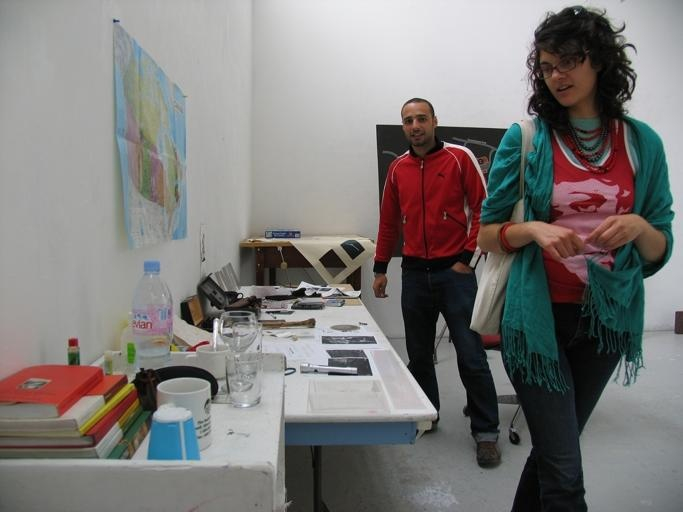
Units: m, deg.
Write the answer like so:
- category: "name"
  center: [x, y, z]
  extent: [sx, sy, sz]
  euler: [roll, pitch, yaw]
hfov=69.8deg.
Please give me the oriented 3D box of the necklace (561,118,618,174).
- category: "necklace"
  center: [0.736, -0.291, 1.413]
  extent: [0.110, 0.184, 0.032]
  euler: [1, -15, 13]

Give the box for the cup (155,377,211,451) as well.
- category: "cup"
  center: [-0.316, 0.320, 1.046]
  extent: [0.125, 0.148, 0.133]
  euler: [-1, 1, 0]

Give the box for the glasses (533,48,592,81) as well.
- category: "glasses"
  center: [0.630, -0.539, 1.387]
  extent: [0.121, 0.056, 0.032]
  euler: [-3, 5, 27]

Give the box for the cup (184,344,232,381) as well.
- category: "cup"
  center: [-0.375, 0.285, 1.379]
  extent: [0.115, 0.090, 0.089]
  euler: [-1, 8, -11]

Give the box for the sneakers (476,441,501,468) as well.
- category: "sneakers"
  center: [0.740, 0.992, 2.466]
  extent: [0.069, 0.085, 0.160]
  euler: [-3, -12, 5]

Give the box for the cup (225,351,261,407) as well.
- category: "cup"
  center: [-0.235, 0.310, 1.218]
  extent: [0.088, 0.113, 0.117]
  euler: [0, -3, -6]
